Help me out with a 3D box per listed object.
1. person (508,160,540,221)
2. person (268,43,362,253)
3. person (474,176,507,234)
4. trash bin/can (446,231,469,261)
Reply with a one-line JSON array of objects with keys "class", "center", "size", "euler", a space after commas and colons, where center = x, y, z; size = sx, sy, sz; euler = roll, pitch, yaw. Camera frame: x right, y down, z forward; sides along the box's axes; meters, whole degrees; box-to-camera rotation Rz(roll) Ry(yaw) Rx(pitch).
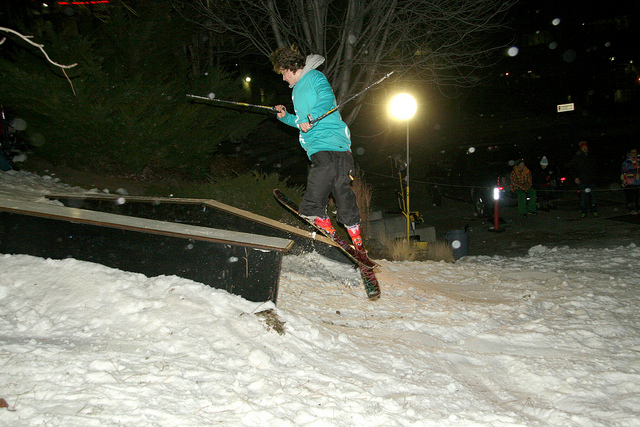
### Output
[{"class": "person", "center": [6.835, -0.877, 15.509], "size": [0.932, 1.847, 0.828], "euler": [9, 9, 22]}, {"class": "person", "center": [-0.019, -0.885, 6.583], "size": [1.518, 2.863, 0.585], "euler": [6, 8, 4]}, {"class": "person", "center": [5.615, -0.243, 15.262], "size": [0.721, 0.749, 1.997], "euler": [-4, -34, 12]}, {"class": "trash bin/can", "center": [3.340, 0.767, 11.189], "size": [0.578, 0.664, 0.557], "euler": [7, 8, 9]}]
